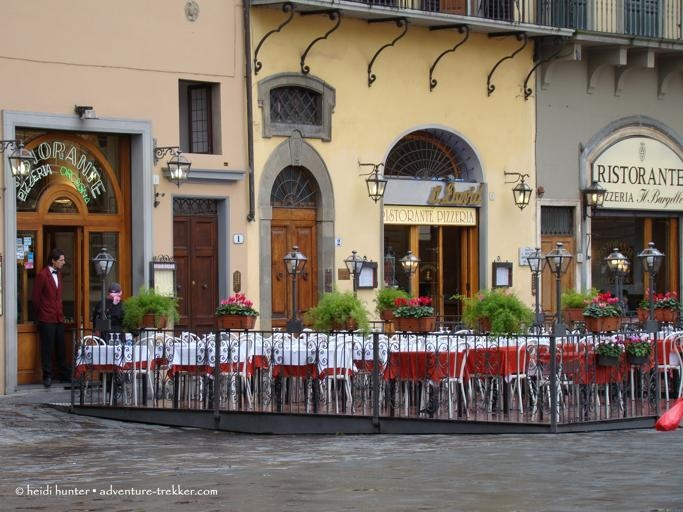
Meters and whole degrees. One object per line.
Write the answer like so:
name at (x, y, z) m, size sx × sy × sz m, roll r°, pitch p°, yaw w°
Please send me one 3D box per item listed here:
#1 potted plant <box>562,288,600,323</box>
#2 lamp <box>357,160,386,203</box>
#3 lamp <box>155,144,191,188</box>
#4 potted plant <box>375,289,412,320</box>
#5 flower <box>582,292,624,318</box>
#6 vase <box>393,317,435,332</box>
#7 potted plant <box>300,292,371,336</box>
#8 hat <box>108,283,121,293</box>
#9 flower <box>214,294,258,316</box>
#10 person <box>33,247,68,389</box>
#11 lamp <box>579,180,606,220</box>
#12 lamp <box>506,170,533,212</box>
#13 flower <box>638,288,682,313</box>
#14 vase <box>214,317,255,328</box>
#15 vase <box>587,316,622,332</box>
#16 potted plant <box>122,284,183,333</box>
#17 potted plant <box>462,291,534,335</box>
potted plant at (4.385, 0.870, 29.326) m, size 0.700 × 0.665 × 0.718 m, roll 0°, pitch 3°, yaw 17°
lamp at (0.723, -1.464, 31.142) m, size 0.601 × 0.822 × 0.703 m, roll -4°, pitch 10°, yaw -19°
lamp at (-3.006, -1.651, 28.493) m, size 0.689 × 0.764 × 0.480 m, roll -5°, pitch 11°, yaw -23°
potted plant at (0.841, 0.829, 27.955) m, size 0.623 × 0.632 × 0.639 m, roll 6°, pitch -5°, yaw -39°
flower at (4.224, 0.777, 24.996) m, size 0.474 × 0.318 × 0.470 m, roll -5°, pitch 7°, yaw -44°
vase at (1.181, 1.026, 24.343) m, size 0.403 × 0.172 × 0.267 m, roll 1°, pitch -2°, yaw 21°
potted plant at (0.109, 0.868, 25.604) m, size 0.730 × 0.573 × 0.753 m, roll 5°, pitch 3°, yaw -30°
hat at (-3.799, 0.518, 26.540) m, size 0.132 × 0.202 × 0.192 m, roll 7°, pitch 17°, yaw 24°
flower at (-1.693, 0.798, 25.724) m, size 0.423 × 0.296 × 0.438 m, roll -2°, pitch -2°, yaw 27°
person at (-4.993, 1.042, 27.304) m, size 0.575 × 2.353 × 0.533 m, roll -4°, pitch 10°, yaw -20°
lamp at (5.510, -1.246, 34.086) m, size 0.428 × 0.829 × 0.580 m, roll -3°, pitch 10°, yaw -14°
lamp at (3.824, -1.419, 33.226) m, size 0.693 × 0.822 × 0.349 m, roll -8°, pitch 12°, yaw -37°
flower at (5.740, 0.764, 27.684) m, size 0.508 × 0.292 × 0.477 m, roll 1°, pitch -1°, yaw 42°
vase at (-1.685, 1.052, 25.628) m, size 0.366 × 0.145 × 0.280 m, roll 1°, pitch -3°, yaw 12°
vase at (4.140, 1.033, 24.840) m, size 0.350 × 0.166 × 0.283 m, roll 0°, pitch 0°, yaw -14°
potted plant at (-3.140, 0.839, 26.136) m, size 0.682 × 0.546 × 0.702 m, roll -5°, pitch -5°, yaw 34°
potted plant at (2.514, 0.860, 24.589) m, size 0.731 × 0.591 × 0.758 m, roll 0°, pitch 2°, yaw -22°
